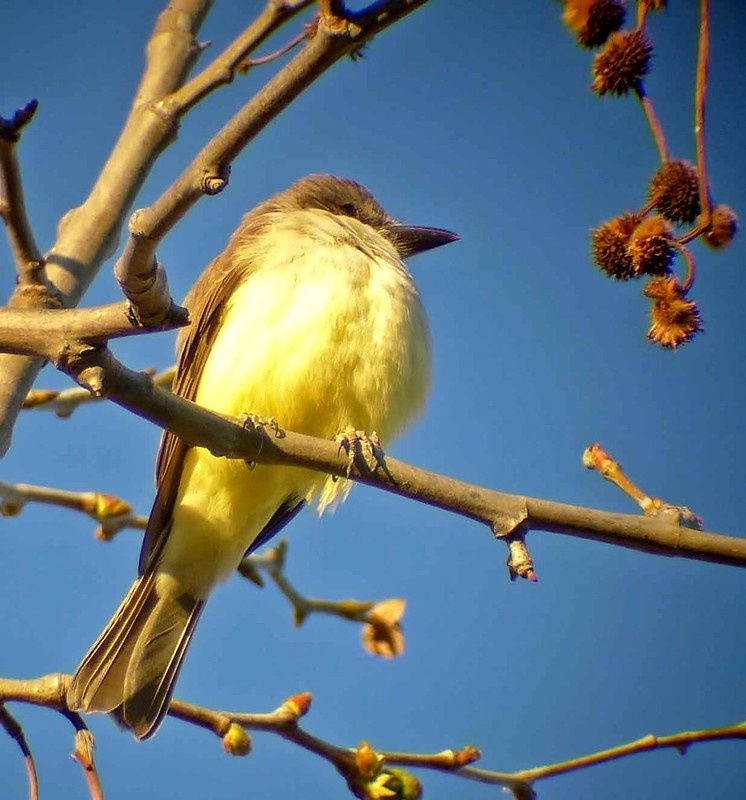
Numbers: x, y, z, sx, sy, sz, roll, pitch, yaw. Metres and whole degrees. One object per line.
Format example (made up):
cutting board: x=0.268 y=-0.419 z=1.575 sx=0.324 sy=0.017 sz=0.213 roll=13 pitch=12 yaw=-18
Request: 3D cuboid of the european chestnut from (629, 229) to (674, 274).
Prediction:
european chestnut: x=0.722 y=-0.385 z=3.981 sx=0.118 sy=0.051 sz=0.114 roll=-5 pitch=-63 yaw=5

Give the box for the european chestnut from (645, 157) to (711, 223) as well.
european chestnut: x=0.783 y=-0.534 z=3.956 sx=0.130 sy=0.150 sz=0.164 roll=-3 pitch=-98 yaw=4

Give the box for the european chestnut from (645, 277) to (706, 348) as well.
european chestnut: x=0.770 y=-0.237 z=3.980 sx=0.139 sy=0.143 sz=0.147 roll=-14 pitch=-62 yaw=11
